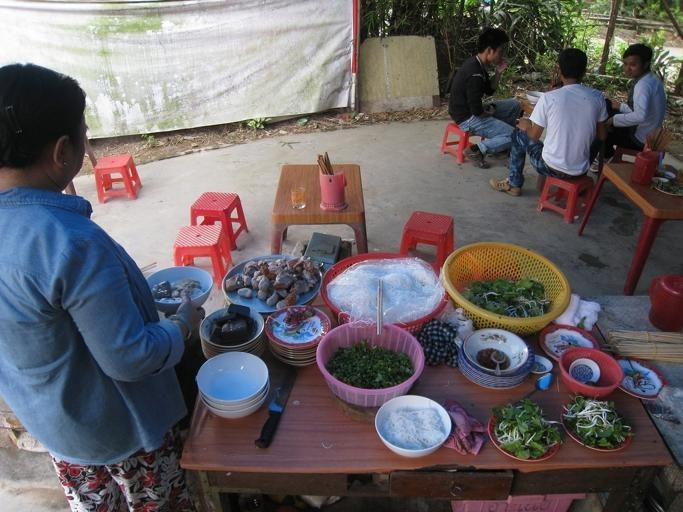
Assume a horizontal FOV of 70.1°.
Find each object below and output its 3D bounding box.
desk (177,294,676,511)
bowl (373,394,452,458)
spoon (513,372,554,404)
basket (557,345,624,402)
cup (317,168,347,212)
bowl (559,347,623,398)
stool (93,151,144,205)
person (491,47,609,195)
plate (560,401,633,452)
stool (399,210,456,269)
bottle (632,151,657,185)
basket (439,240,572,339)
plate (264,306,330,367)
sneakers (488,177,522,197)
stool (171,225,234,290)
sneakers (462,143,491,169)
[{"bbox_3d":[0.251,0.477,1.899,1.866,0.890,0.691,1,47,1],"label":"desk"},{"bbox_3d":[0.344,0.819,2.299,0.337,0.114,0.330,-7,25,3],"label":"bowl"},{"bbox_3d":[0.974,0.675,2.472,0.238,0.028,0.049,-31,67,-24],"label":"spoon"},{"bbox_3d":[1.278,0.600,2.467,0.269,0.103,0.258,-4,42,-1],"label":"basket"},{"bbox_3d":[-0.072,-0.536,4.091,0.309,0.317,0.273,10,40,11],"label":"cup"},{"bbox_3d":[1.271,0.604,2.460,0.264,0.101,0.252,-1,43,1],"label":"bowl"},{"bbox_3d":[-2.984,-1.056,6.462,0.607,0.445,0.578,-1,28,8],"label":"stool"},{"bbox_3d":[2.460,-1.281,5.684,0.479,1.398,0.963,-22,35,-29],"label":"person"},{"bbox_3d":[1.215,0.795,2.305,0.306,0.147,0.192,8,31,16],"label":"plate"},{"bbox_3d":[0.694,-0.169,4.189,0.508,0.449,0.495,9,47,12],"label":"stool"},{"bbox_3d":[2.645,-0.765,4.226,0.166,0.254,0.221,15,34,27],"label":"bottle"},{"bbox_3d":[0.989,0.115,2.810,0.642,0.242,0.613,2,40,3],"label":"basket"},{"bbox_3d":[-0.236,0.407,2.672,0.319,0.137,0.309,7,33,6],"label":"plate"},{"bbox_3d":[2.132,-0.898,6.365,0.416,0.162,0.190,32,60,31],"label":"sneakers"},{"bbox_3d":[-1.294,-0.003,4.893,0.669,0.597,0.639,2,44,0],"label":"stool"},{"bbox_3d":[1.925,-1.410,6.915,0.254,0.562,0.197,-33,53,20],"label":"sneakers"}]
